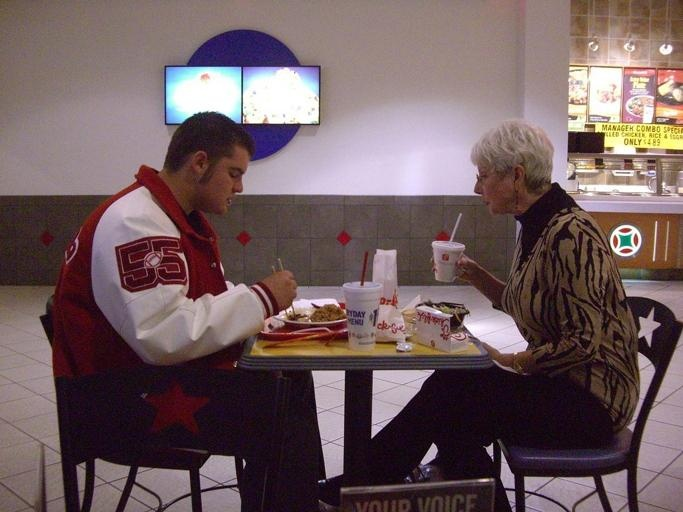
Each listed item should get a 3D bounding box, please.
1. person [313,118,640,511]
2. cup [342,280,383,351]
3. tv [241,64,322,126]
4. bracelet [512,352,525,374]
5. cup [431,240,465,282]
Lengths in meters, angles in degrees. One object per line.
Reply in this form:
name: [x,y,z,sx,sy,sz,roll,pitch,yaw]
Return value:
person: [0.582,0.172,2.098,0.950,1.329,0.555,-7,10,-24]
cup: [0.069,0.192,1.885,0.126,0.215,0.104,-7,10,-24]
tv: [-0.715,-1.942,6.866,1.016,0.781,0.041,0,0,-1]
bracelet: [0.641,0.385,2.083,0.064,0.059,0.060,-9,-9,22]
cup: [0.465,0.018,2.610,0.166,0.171,0.166,3,2,0]
